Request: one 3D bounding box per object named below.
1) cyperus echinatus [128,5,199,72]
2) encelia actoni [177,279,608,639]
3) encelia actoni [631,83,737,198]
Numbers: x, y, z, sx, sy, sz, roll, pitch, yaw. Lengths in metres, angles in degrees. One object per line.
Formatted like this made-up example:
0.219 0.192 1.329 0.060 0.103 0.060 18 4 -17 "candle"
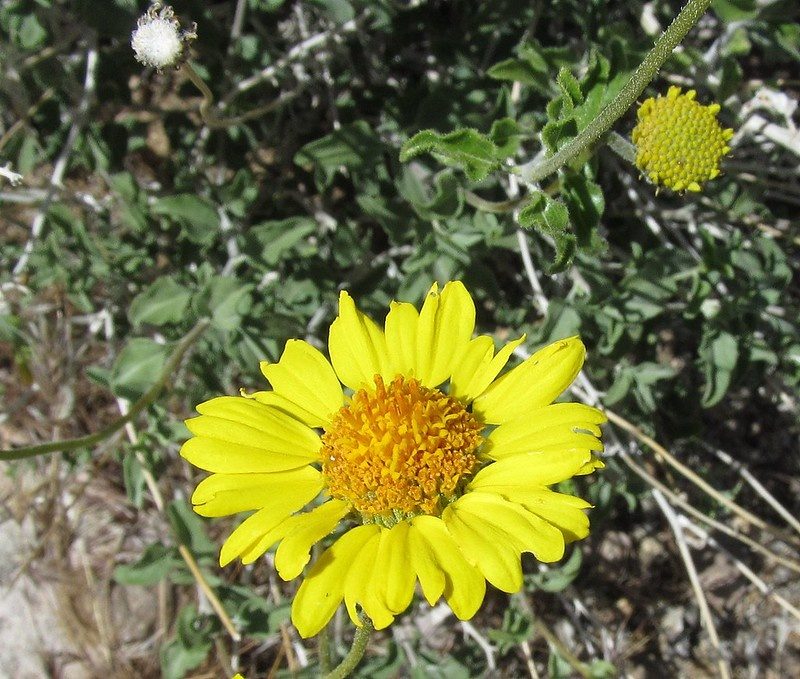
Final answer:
-0.761 -0.915 2.364 0.199 0.225 0.215 -1 1 -45 "cyperus echinatus"
0.010 0.316 2.297 1.153 0.508 1.318 -9 32 5 "encelia actoni"
0.928 -0.648 2.526 0.300 0.377 0.126 -8 -3 9 "encelia actoni"
